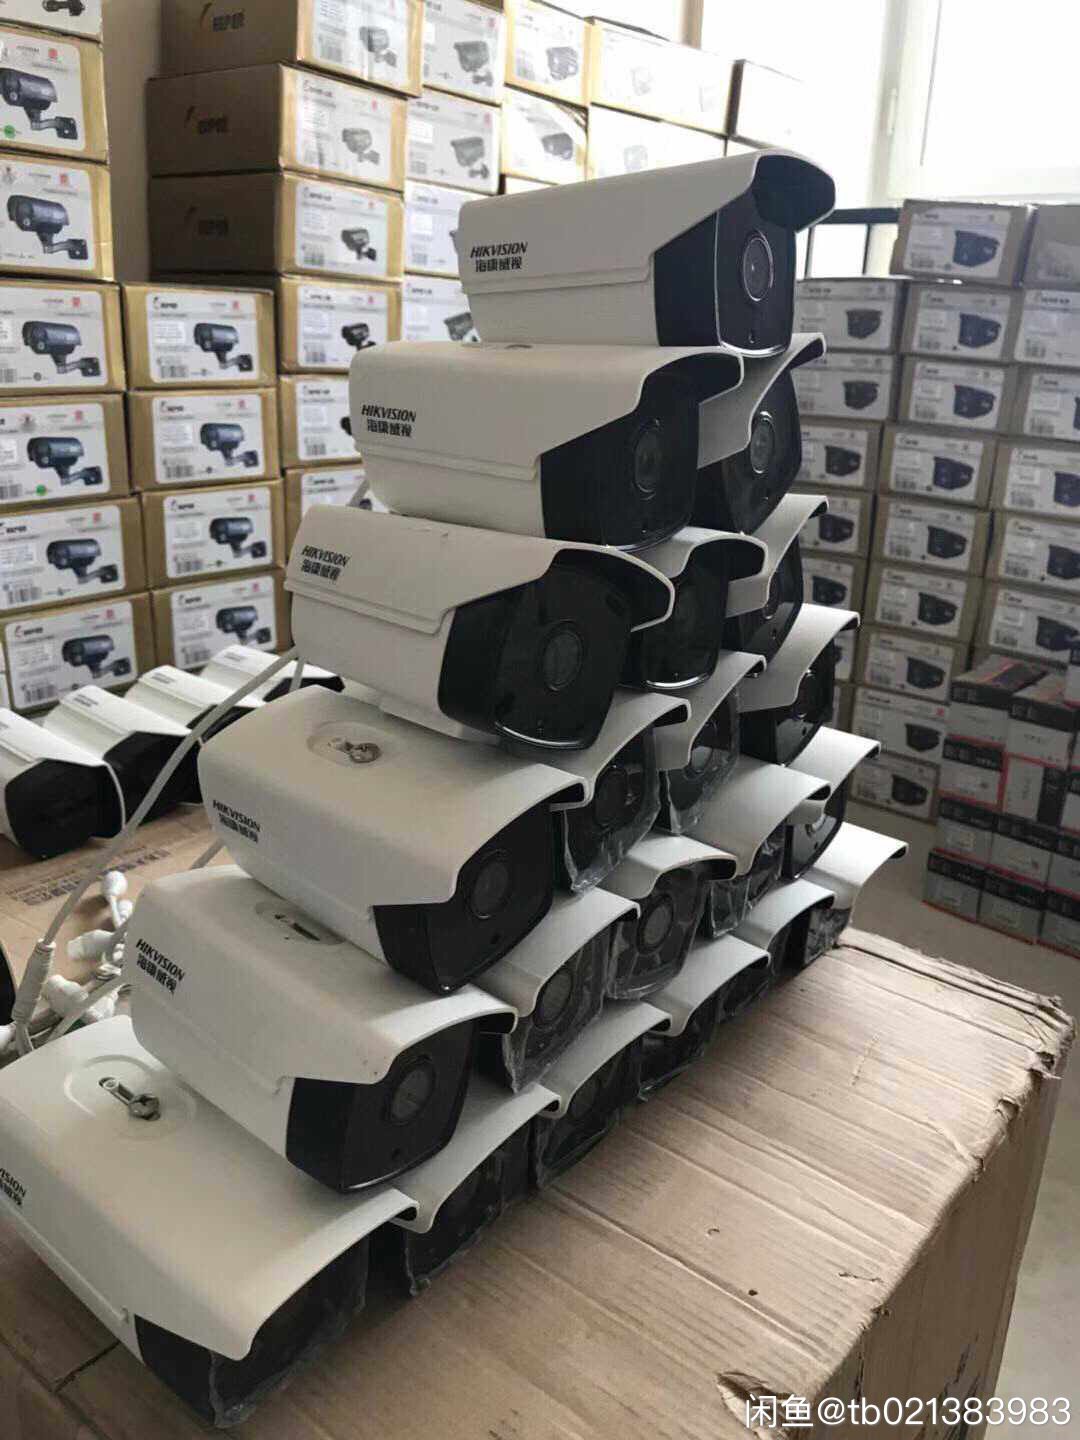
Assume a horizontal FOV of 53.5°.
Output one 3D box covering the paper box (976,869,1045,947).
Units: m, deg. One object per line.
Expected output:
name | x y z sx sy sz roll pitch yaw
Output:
paper box | 0.940 0.367 2.131 0.123 0.122 0.095 21 11 31
